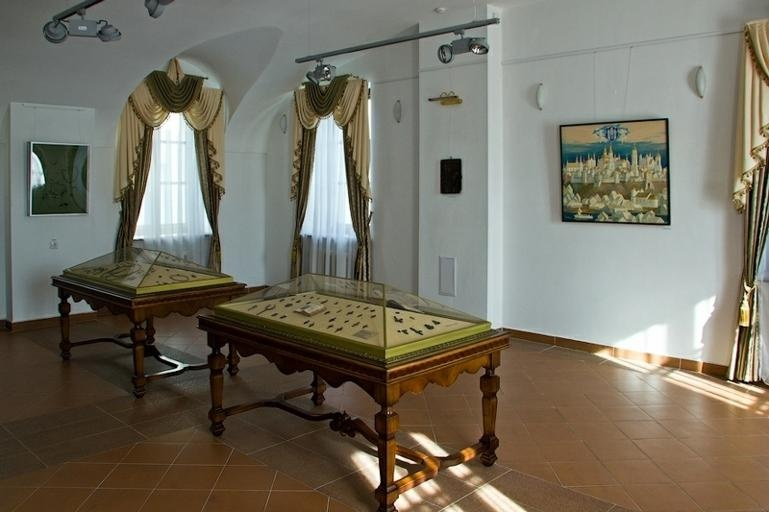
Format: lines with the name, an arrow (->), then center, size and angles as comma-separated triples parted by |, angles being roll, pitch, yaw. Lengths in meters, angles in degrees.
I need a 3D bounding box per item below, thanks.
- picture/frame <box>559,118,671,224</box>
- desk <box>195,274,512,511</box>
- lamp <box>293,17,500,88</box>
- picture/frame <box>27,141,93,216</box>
picture/frame -> 3.047, -1.097, 6.870 | 1.267, 1.375, 0.094 | 4, 9, 34
desk -> -0.301, 1.081, 4.884 | 2.575, 1.619, 1.254 | 7, 15, 27
lamp -> 0.184, -2.752, 7.190 | 2.288, 0.830, 3.024 | 1, 14, 5
picture/frame -> -5.044, -1.189, 8.128 | 1.037, 1.499, 0.100 | -5, 9, -41
